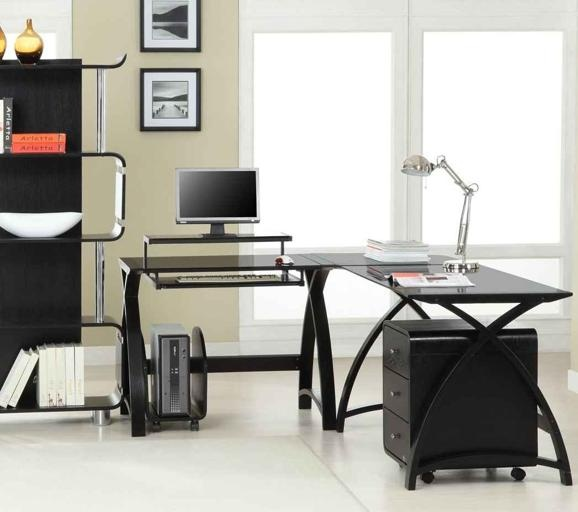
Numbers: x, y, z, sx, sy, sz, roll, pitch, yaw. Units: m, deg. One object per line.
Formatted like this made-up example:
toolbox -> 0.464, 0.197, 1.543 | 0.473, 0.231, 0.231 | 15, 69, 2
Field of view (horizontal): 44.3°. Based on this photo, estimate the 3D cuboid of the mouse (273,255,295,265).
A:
mouse -> -0.027, 0.019, 3.598 | 0.068, 0.036, 0.048 | -2, 10, 0

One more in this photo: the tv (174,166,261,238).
tv -> -0.391, -0.307, 3.900 | 0.506, 0.435, 0.115 | 0, -8, -9

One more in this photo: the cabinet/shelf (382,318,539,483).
cabinet/shelf -> 0.687, 0.603, 3.139 | 0.603, 0.633, 0.580 | 0, 0, -3

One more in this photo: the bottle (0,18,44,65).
bottle -> -1.302, -1.046, 3.480 | 0.186, 0.236, 0.133 | 2, 5, 21

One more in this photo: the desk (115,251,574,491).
desk -> 0.561, 0.515, 3.405 | 1.344, 0.664, 1.354 | 0, 2, -9
